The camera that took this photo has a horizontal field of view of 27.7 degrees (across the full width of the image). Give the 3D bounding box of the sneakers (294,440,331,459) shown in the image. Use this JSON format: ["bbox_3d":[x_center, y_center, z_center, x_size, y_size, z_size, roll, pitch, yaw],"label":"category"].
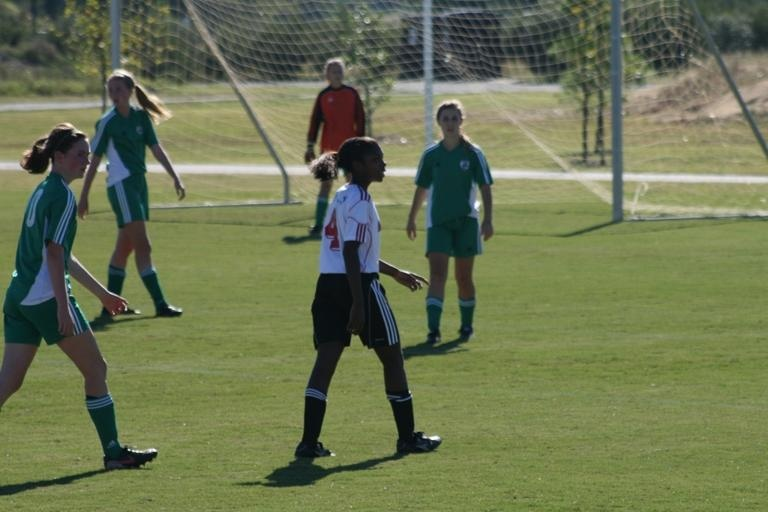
[{"bbox_3d":[-0.807,2.206,17.977,0.453,0.185,0.169,-1,3,-16],"label":"sneakers"}]

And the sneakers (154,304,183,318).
[{"bbox_3d":[-2.891,0.720,20.925,0.325,0.125,0.161,-1,7,1],"label":"sneakers"}]

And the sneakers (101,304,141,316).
[{"bbox_3d":[-3.607,0.740,21.101,0.653,0.158,0.222,-1,7,-6],"label":"sneakers"}]

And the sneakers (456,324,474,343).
[{"bbox_3d":[1.091,0.980,20.260,0.254,0.231,0.160,-3,-4,31],"label":"sneakers"}]

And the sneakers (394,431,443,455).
[{"bbox_3d":[0.425,2.136,18.124,0.568,0.245,0.199,-8,4,-5],"label":"sneakers"}]
